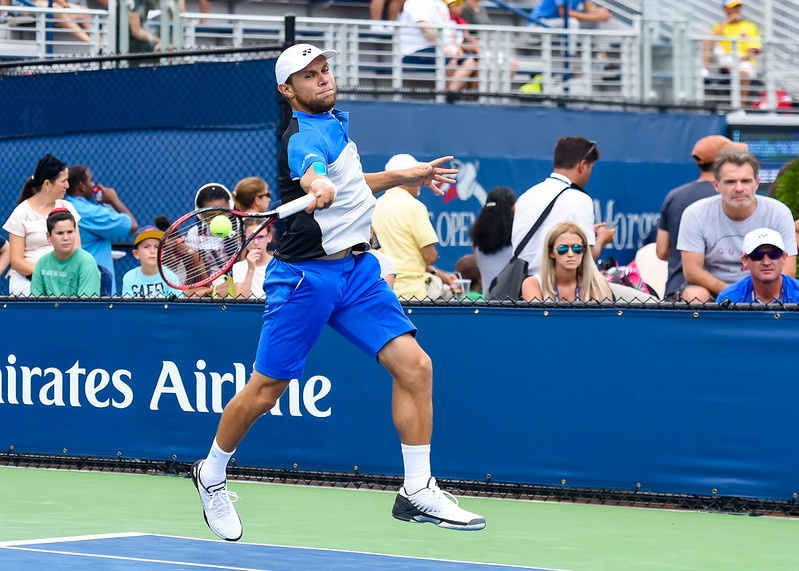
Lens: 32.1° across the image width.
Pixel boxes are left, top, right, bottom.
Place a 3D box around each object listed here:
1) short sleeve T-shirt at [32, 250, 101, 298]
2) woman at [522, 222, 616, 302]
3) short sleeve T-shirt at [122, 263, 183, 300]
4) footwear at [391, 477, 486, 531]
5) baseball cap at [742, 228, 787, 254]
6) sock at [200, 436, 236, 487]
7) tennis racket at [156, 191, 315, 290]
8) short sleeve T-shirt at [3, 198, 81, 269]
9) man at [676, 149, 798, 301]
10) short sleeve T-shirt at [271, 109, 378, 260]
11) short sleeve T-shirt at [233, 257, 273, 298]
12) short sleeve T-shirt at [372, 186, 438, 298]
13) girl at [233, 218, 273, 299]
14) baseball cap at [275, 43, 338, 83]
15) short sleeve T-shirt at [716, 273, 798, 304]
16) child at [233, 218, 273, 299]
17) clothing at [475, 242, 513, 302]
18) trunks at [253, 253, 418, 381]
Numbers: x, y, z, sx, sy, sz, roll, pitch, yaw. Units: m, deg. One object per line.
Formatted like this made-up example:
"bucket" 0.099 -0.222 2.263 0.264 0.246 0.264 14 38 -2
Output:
"short sleeve T-shirt" -2.891 0.003 12.060 0.656 0.637 0.337 0 -1 15
"woman" 1.331 -0.167 10.974 0.674 0.663 0.375 0 13 -7
"short sleeve T-shirt" -2.228 -0.082 12.398 0.396 0.207 0.526 -1 8 -23
"footwear" 0.243 1.466 9.353 0.773 0.343 0.260 4 0 23
"baseball cap" 2.736 -0.316 10.392 0.290 0.194 0.257 3 4 15
"sock" -1.236 1.209 9.402 0.142 0.401 0.271 26 -12 -17
"tennis racket" -1.368 -0.362 10.001 1.469 0.562 0.108 -22 -15 39
"short sleeve T-shirt" -3.125 -0.439 12.268 0.637 0.586 0.327 -6 4 -41
"man" 2.671 -0.562 11.399 0.982 1.425 1.203 -1 4 6
"short sleeve T-shirt" -0.548 -0.657 9.575 0.529 0.757 1.400 -4 6 1
"short sleeve T-shirt" -1.188 -0.052 11.386 0.339 0.323 0.186 0 2 7
"short sleeve T-shirt" 0.064 -0.305 12.096 0.359 1.056 0.613 -8 7 -36
"girl" -1.232 -0.226 11.970 0.208 0.624 0.469 15 11 41
"baseball cap" -0.622 -1.440 9.249 0.348 0.170 0.250 -26 7 38
"short sleeve T-shirt" 2.705 0.059 10.438 0.457 0.167 0.250 -1 2 15
"child" -1.318 -0.233 12.056 0.208 0.624 0.469 15 11 41
"clothing" 0.861 -0.125 12.372 0.441 0.573 0.305 5 11 26
"trunks" -0.473 0.151 9.367 1.192 0.829 0.451 -5 -8 -22
